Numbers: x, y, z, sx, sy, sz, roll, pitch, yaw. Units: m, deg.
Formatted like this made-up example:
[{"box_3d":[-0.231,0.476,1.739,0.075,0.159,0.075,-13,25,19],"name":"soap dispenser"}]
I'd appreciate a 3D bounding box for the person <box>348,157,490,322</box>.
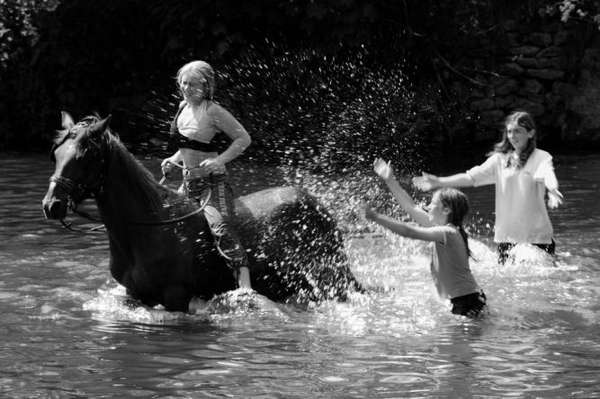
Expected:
[{"box_3d":[1.483,0.828,9.570,1.296,2.335,1.019,-4,14,12],"name":"person"}]
